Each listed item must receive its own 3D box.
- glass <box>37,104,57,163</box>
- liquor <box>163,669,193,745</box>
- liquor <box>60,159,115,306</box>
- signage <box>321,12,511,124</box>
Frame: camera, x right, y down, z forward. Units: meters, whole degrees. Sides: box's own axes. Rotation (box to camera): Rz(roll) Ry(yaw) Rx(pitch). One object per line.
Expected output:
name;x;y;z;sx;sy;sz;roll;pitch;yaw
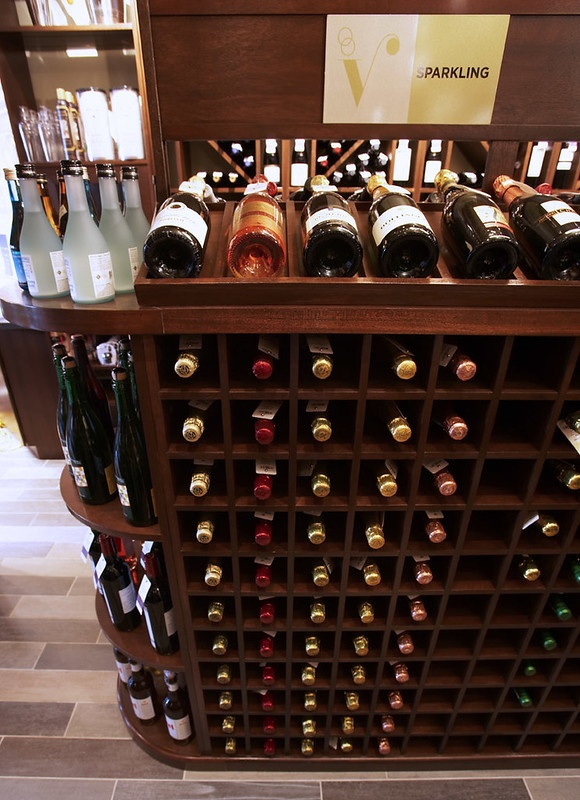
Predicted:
glass;-1.061;-1.174;2.827;0.075;0.235;0.074;1;21;9
liquor;-0.311;0.855;1.778;0.069;0.220;0.066;-14;16;-23
liquor;-0.410;-0.333;1.265;0.092;0.251;0.166;-9;35;-14
signage;0.248;-0.661;1.280;0.352;0.198;0.021;0;34;-1
